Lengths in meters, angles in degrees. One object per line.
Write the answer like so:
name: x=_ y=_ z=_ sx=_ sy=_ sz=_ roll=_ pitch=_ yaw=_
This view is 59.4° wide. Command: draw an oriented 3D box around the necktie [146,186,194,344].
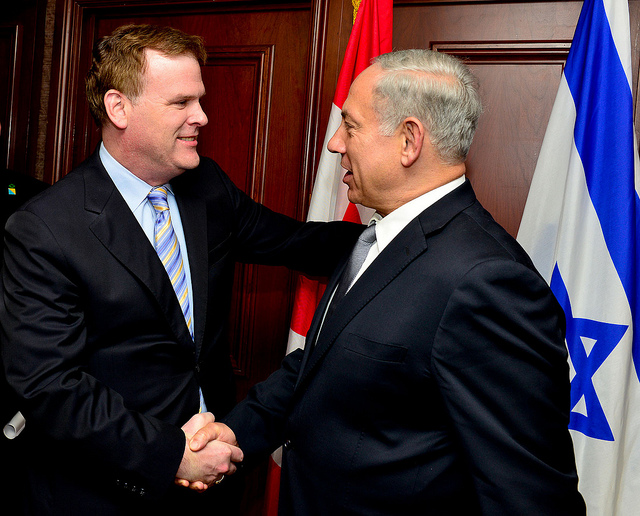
necktie: x=-0.439 y=-0.023 z=1.679 sx=0.081 sy=0.675 sz=0.065 roll=-5 pitch=-28 yaw=-13

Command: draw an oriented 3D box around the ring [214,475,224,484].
ring: x=-0.291 y=0.643 z=1.614 sx=0.020 sy=0.011 sz=0.029 roll=-17 pitch=-30 yaw=-25

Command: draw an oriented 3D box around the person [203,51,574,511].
person: x=0.171 y=0.037 z=2.042 sx=0.934 sy=1.734 sz=0.824 roll=2 pitch=4 yaw=9

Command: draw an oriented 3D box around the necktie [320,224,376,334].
necktie: x=0.102 y=0.024 z=1.557 sx=0.033 sy=0.529 sz=0.074 roll=34 pitch=-50 yaw=-11
